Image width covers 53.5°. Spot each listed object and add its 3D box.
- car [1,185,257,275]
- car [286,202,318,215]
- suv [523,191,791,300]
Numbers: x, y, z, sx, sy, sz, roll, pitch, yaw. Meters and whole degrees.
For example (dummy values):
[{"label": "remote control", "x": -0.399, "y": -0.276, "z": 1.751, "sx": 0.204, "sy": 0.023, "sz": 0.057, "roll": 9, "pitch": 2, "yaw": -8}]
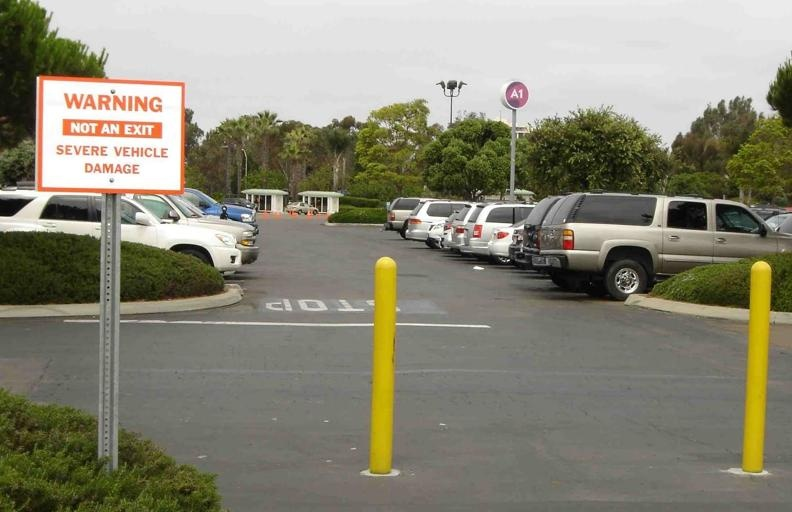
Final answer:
[{"label": "car", "x": -6.122, "y": -0.521, "z": 17.536, "sx": 4.842, "sy": 1.865, "sz": 1.334, "roll": -3, "pitch": 8, "yaw": -28}, {"label": "car", "x": -11.411, "y": -5.696, "z": 95.845, "sx": 3.899, "sy": 1.409, "sz": 1.826, "roll": -4, "pitch": 7, "yaw": -18}, {"label": "suv", "x": 5.996, "y": -0.463, "z": 18.062, "sx": 5.077, "sy": 1.788, "sz": 2.574, "roll": -3, "pitch": 6, "yaw": -11}]
